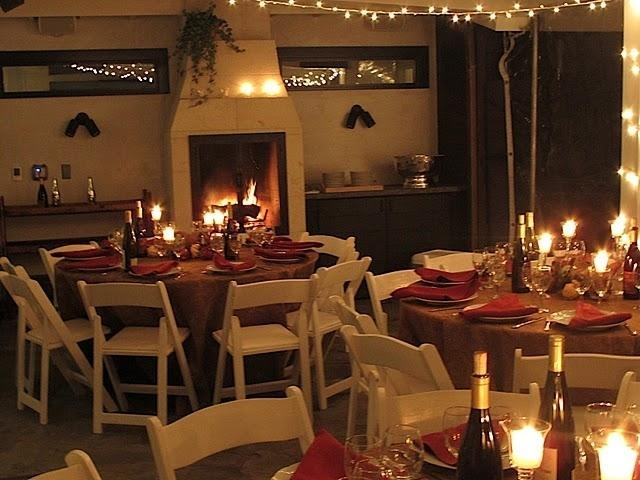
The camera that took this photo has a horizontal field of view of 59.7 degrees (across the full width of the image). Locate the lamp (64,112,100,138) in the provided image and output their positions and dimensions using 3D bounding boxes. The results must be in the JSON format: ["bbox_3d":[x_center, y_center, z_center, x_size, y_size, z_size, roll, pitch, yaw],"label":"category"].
[{"bbox_3d":[-2.717,-1.331,6.382,0.379,0.292,0.105,3,-28,-11],"label":"lamp"}]

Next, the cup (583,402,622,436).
[{"bbox_3d":[0.701,0.440,1.399,0.078,0.065,0.074,-2,5,0],"label":"cup"}]

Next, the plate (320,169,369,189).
[{"bbox_3d":[0.284,-0.704,6.399,0.441,0.132,0.288,-4,6,-3],"label":"plate"}]

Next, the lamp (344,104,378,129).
[{"bbox_3d":[0.475,-1.515,6.792,0.357,0.242,0.117,-2,5,-11],"label":"lamp"}]
